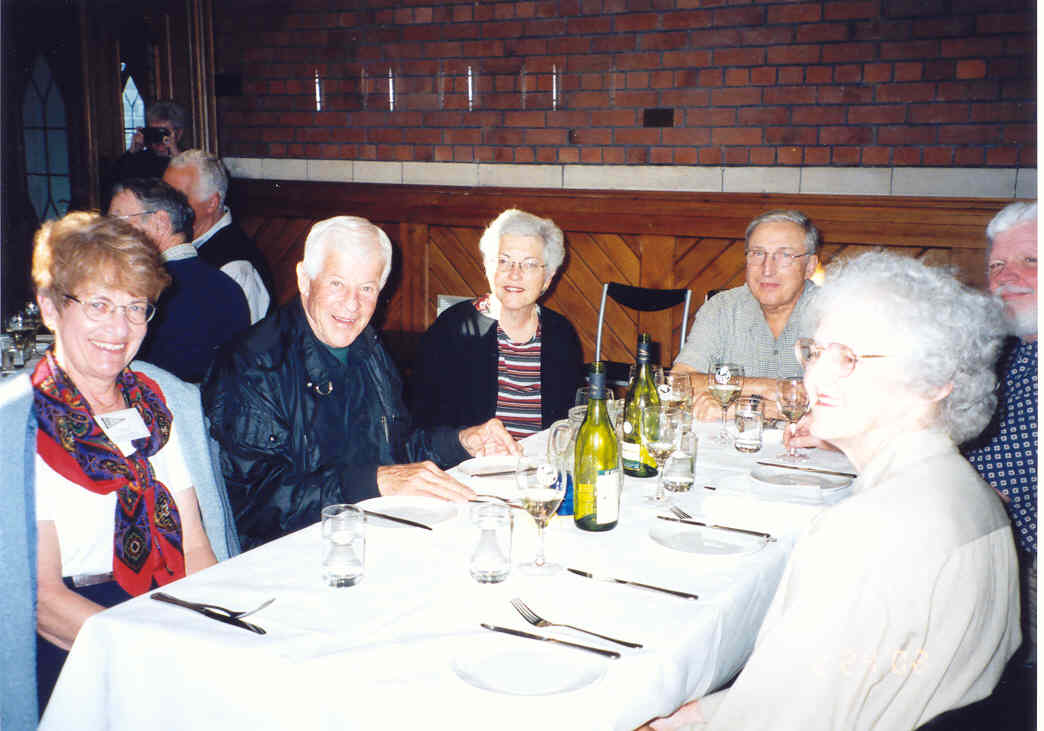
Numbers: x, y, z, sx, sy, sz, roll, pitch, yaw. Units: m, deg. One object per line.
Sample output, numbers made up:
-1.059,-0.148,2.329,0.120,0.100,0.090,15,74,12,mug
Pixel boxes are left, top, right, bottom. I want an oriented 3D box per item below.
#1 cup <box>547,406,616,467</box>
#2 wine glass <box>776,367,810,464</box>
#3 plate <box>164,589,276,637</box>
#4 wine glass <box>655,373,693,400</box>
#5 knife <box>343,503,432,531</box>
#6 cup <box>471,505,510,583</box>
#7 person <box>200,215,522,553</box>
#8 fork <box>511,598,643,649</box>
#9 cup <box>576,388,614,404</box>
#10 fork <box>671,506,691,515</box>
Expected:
0.127,0.181,2.301,0.186,0.187,0.111,-2,10,-15,cup
0.875,0.175,2.816,0.113,0.276,0.102,7,19,32,wine glass
-0.608,0.481,1.725,0.187,0.039,0.084,12,19,4,plate
0.513,0.073,2.915,0.097,0.092,0.096,-1,-4,9,wine glass
-0.326,0.361,2.092,0.272,0.035,0.036,10,4,18,knife
-0.057,0.391,1.950,0.113,0.178,0.111,-1,-7,0,cup
-0.563,0.249,2.713,0.687,1.350,0.711,19,30,28,person
0.105,0.508,1.724,0.265,0.039,0.037,4,12,32,fork
0.219,0.092,2.705,0.069,0.066,0.069,-1,2,0,cup
0.407,0.370,2.231,0.015,0.016,0.061,-1,15,-22,fork
